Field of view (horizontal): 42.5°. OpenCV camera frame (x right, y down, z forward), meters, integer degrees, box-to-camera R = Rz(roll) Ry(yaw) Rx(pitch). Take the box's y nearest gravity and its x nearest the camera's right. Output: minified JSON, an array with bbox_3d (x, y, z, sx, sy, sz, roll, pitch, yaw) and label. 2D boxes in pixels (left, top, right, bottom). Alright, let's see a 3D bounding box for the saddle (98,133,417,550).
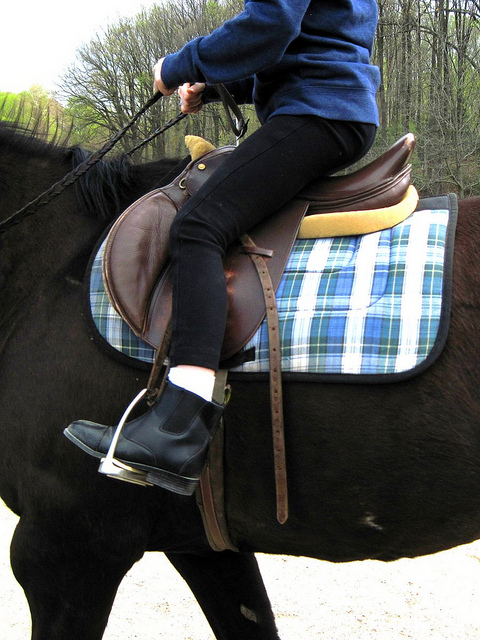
[{"bbox_3d":[0.106,-0.036,1.459,0.361,0.992,0.695,8,-13,-33],"label":"saddle"}]
